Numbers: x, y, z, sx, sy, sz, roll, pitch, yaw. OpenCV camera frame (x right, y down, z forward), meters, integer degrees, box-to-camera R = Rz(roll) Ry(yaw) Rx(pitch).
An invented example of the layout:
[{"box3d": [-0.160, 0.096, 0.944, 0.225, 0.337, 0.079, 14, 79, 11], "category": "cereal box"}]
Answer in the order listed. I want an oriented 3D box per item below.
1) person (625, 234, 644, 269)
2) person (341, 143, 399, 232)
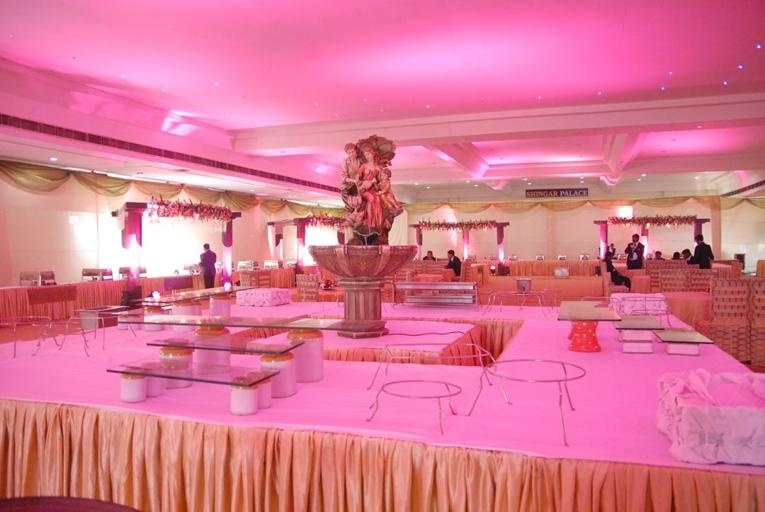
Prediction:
[{"box3d": [7.244, 0.043, 14.588, 0.479, 1.315, 0.440, 3, 13, 29], "category": "person"}, {"box3d": [-0.154, -0.920, 6.683, 0.767, 1.319, 0.446, -1, 8, -5], "category": "person"}]
